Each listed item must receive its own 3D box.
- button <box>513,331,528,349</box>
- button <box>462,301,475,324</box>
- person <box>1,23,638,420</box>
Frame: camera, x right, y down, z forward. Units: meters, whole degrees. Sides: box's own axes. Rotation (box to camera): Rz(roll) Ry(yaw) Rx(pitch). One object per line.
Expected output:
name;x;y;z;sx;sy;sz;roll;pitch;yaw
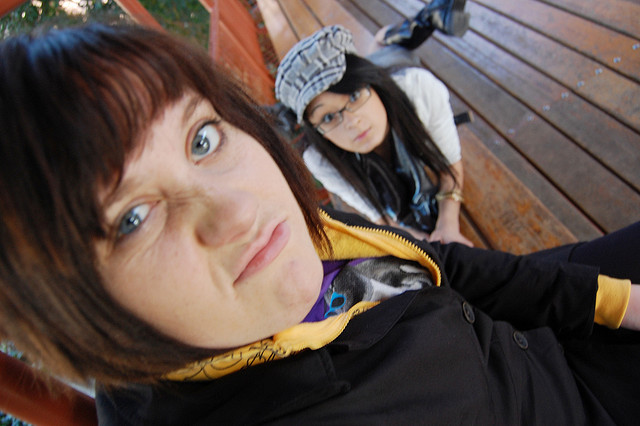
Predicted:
button;0.526;0.331;1.350;0.040;0.038;0.009;-30;-13;-50
button;0.391;0.261;1.335;0.014;0.034;0.051;-31;54;35
person;0.039;0.024;1.322;0.707;0.858;0.454;-20;51;1
